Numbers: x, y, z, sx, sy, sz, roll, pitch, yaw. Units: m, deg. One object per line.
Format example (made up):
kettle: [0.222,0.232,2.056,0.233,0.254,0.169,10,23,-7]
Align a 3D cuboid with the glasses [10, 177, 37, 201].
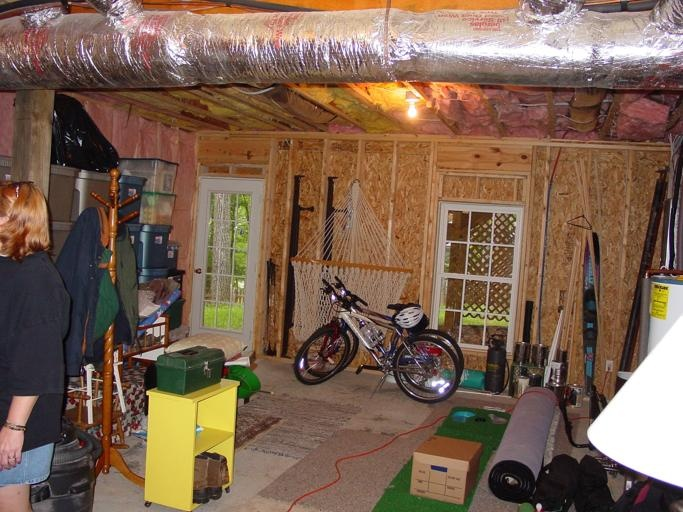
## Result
glasses: [-1.385,-0.294,2.471,0.103,0.034,0.105,3,-7,-35]

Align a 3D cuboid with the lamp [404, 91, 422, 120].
lamp: [0.623,-1.419,5.162,0.134,0.188,0.130,-1,-2,-1]

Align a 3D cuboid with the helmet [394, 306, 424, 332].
helmet: [0.645,0.591,5.455,0.270,0.139,0.189,-15,10,11]

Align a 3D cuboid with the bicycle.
bicycle: [0.755,0.877,6.011,2.138,1.084,0.904,-2,-8,17]

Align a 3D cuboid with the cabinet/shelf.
cabinet/shelf: [-0.923,1.165,3.551,0.371,0.737,0.487,8,8,24]

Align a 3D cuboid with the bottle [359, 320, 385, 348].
bottle: [0.301,0.781,5.756,0.218,0.271,0.107,-32,2,0]

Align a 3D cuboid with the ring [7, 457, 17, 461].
ring: [-1.345,0.834,2.332,0.023,0.018,0.020,1,-5,1]

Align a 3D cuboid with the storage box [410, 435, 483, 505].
storage box: [0.705,1.429,3.835,0.368,0.302,0.407,7,7,22]
